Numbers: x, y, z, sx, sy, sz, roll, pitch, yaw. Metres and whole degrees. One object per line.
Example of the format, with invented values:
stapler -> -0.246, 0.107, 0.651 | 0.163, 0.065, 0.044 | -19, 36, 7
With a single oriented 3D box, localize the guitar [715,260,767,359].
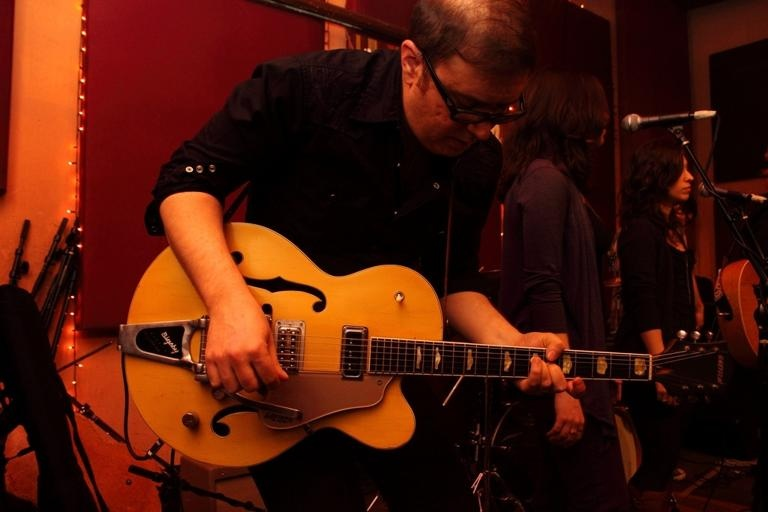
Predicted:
guitar -> 2.332, 0.376, 4.743 | 0.455, 0.814, 0.214 | 1, -3, -41
